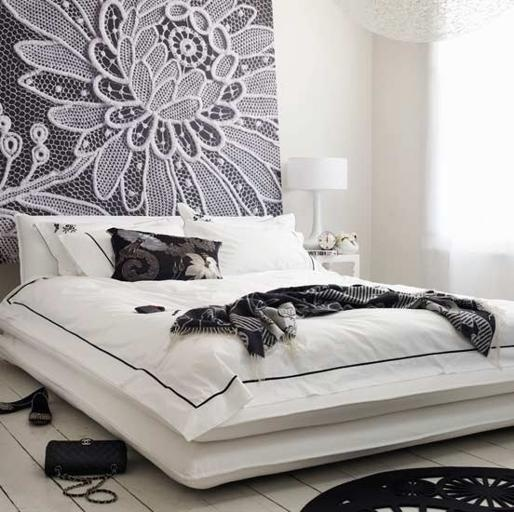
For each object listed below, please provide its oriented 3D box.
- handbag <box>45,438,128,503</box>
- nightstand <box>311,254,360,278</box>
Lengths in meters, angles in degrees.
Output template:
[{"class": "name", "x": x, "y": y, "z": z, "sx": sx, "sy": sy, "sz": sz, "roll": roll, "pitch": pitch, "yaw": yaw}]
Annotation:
[{"class": "handbag", "x": -0.501, "y": 0.631, "z": 1.441, "sx": 0.240, "sy": 0.079, "sz": 0.336, "roll": 1, "pitch": -1, "yaw": -18}, {"class": "nightstand", "x": 0.736, "y": 0.067, "z": 4.408, "sx": 0.323, "sy": 0.269, "sz": 0.300, "roll": 0, "pitch": -1, "yaw": -6}]
